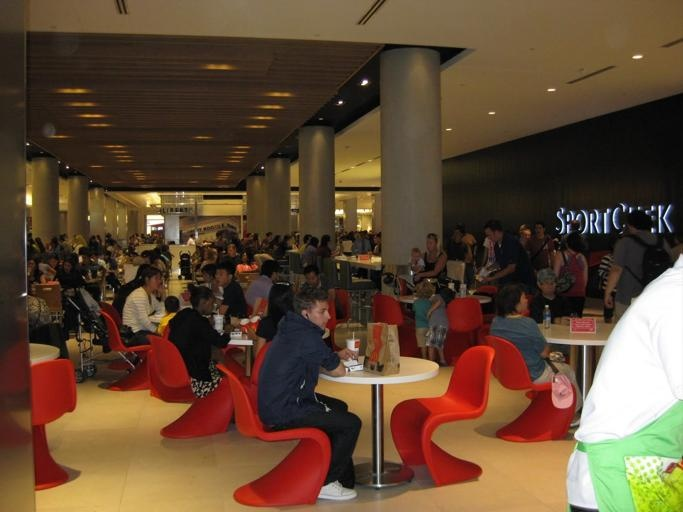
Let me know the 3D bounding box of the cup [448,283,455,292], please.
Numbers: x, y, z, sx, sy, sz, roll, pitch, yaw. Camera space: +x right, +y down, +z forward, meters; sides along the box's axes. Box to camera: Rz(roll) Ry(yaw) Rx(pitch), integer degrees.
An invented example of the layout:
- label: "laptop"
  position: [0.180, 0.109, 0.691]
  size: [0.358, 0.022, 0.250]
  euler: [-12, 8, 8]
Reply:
- label: "cup"
  position: [1.455, 0.405, 7.064]
  size: [0.091, 0.160, 0.090]
  euler: [0, 7, 0]

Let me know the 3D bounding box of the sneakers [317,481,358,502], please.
- label: "sneakers"
  position: [-0.033, 1.627, 3.676]
  size: [0.242, 0.110, 0.115]
  euler: [-1, 0, -4]

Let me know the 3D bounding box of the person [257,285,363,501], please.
- label: "person"
  position: [-0.217, 0.949, 3.626]
  size: [0.686, 1.454, 0.214]
  euler: [-2, 4, -13]

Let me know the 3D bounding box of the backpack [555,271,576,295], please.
- label: "backpack"
  position: [2.926, 0.356, 6.929]
  size: [0.095, 0.237, 0.181]
  euler: [42, 5, -16]

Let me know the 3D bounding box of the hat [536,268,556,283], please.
- label: "hat"
  position: [2.154, 0.193, 5.619]
  size: [0.145, 0.157, 0.180]
  euler: [-4, -17, 1]
